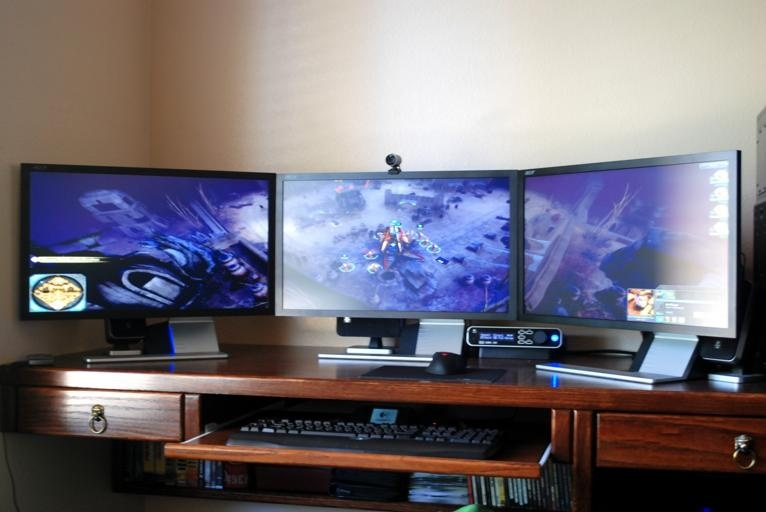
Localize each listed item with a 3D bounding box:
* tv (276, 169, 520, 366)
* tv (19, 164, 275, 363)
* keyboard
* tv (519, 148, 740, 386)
[{"bbox_3d":[0.055,0.041,2.346,1.133,0.689,0.336,1,5,37],"label":"tv"},{"bbox_3d":[-0.837,0.034,2.307,1.146,0.671,0.300,1,2,21],"label":"tv"},{"bbox_3d":[-0.053,0.547,1.872,0.812,0.057,0.192,2,3,9],"label":"keyboard"},{"bbox_3d":[0.835,0.048,2.116,0.510,0.736,0.907,-2,3,-26],"label":"tv"}]
